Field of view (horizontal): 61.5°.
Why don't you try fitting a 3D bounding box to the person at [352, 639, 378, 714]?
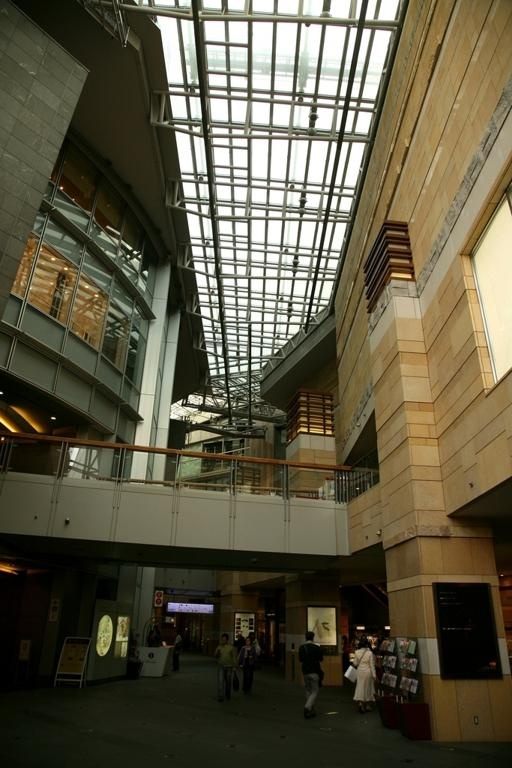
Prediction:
[{"bbox_3d":[1.979,5.365,7.943,0.367,1.250,0.312,1,-3,18],"label":"person"}]
